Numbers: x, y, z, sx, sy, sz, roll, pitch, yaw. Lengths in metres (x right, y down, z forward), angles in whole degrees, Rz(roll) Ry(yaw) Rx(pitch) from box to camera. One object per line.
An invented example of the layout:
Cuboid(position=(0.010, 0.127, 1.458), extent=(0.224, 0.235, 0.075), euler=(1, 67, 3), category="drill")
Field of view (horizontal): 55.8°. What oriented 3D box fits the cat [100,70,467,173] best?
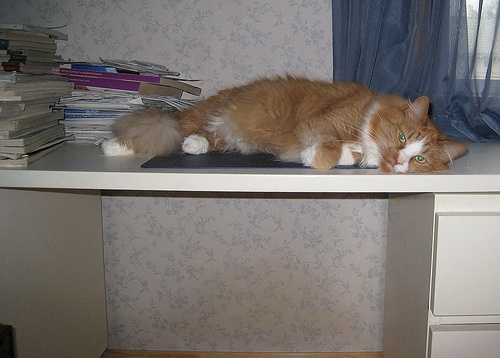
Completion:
Cuboid(position=(0.172, -0.183, 1.598), extent=(0.913, 0.282, 0.538), euler=(5, 9, 27), category="cat")
